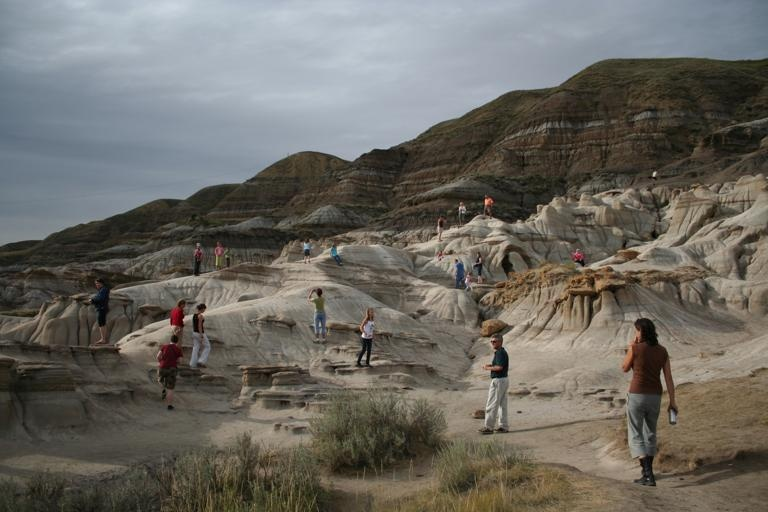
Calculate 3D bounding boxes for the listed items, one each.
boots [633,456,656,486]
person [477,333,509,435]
[{"bbox_3d":[6.953,5.689,22.333,0.538,0.735,0.637,3,15,17],"label":"boots"},{"bbox_3d":[3.306,3.794,24.830,0.754,2.971,0.836,0,16,7],"label":"person"}]
